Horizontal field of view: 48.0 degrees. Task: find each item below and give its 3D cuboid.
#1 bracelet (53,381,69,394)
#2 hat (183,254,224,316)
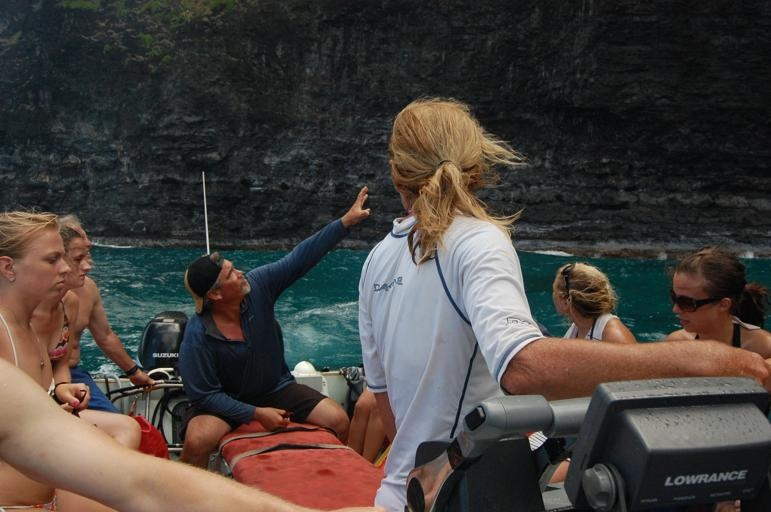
[{"bbox_3d":[-5.355,2.146,14.209,0.202,0.127,0.187,-3,-18,2],"label":"bracelet"},{"bbox_3d":[-3.120,0.459,14.934,0.666,1.039,0.333,-1,6,-9],"label":"hat"}]
